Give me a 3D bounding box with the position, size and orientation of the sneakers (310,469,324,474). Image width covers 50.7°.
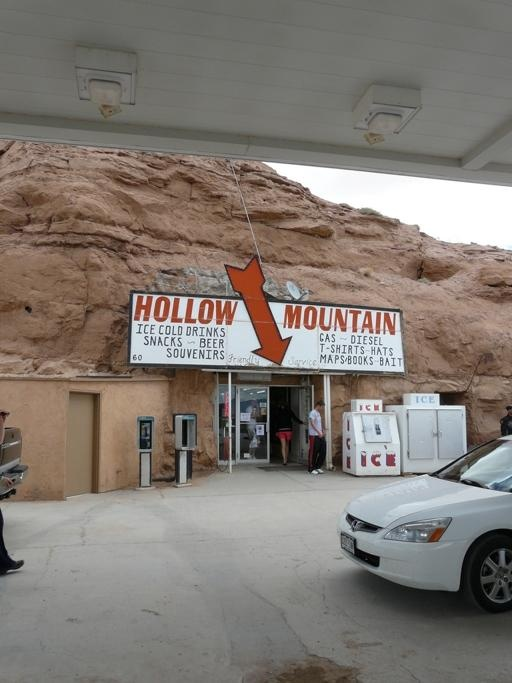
[{"bbox_3d":[1.581,3.315,13.727,0.354,0.142,0.117,0,2,-24],"label":"sneakers"}]

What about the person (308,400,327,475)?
[{"bbox_3d":[1.573,2.469,13.945,0.437,1.805,1.467,-1,-8,8],"label":"person"}]

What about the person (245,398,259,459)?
[{"bbox_3d":[-0.075,2.547,15.511,0.288,1.616,0.623,0,-8,0],"label":"person"}]
